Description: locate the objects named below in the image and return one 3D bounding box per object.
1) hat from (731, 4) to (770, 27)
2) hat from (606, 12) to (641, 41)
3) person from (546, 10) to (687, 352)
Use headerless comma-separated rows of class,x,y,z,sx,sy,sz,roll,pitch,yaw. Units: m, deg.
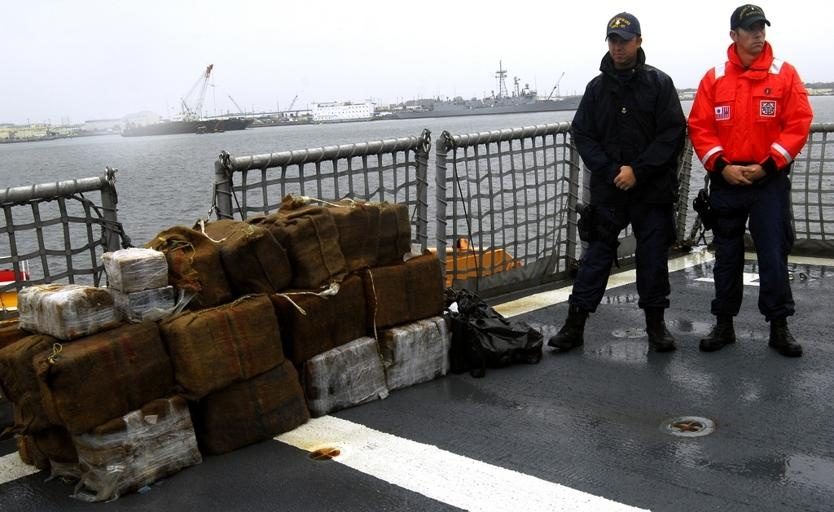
hat,2.909,-2.131,4.761,0.269,0.195,0.163,4,15,28
hat,1.835,-2.078,4.830,0.275,0.254,0.280,1,13,17
person,1.942,-0.673,5.116,1.026,3.130,0.720,2,14,21
